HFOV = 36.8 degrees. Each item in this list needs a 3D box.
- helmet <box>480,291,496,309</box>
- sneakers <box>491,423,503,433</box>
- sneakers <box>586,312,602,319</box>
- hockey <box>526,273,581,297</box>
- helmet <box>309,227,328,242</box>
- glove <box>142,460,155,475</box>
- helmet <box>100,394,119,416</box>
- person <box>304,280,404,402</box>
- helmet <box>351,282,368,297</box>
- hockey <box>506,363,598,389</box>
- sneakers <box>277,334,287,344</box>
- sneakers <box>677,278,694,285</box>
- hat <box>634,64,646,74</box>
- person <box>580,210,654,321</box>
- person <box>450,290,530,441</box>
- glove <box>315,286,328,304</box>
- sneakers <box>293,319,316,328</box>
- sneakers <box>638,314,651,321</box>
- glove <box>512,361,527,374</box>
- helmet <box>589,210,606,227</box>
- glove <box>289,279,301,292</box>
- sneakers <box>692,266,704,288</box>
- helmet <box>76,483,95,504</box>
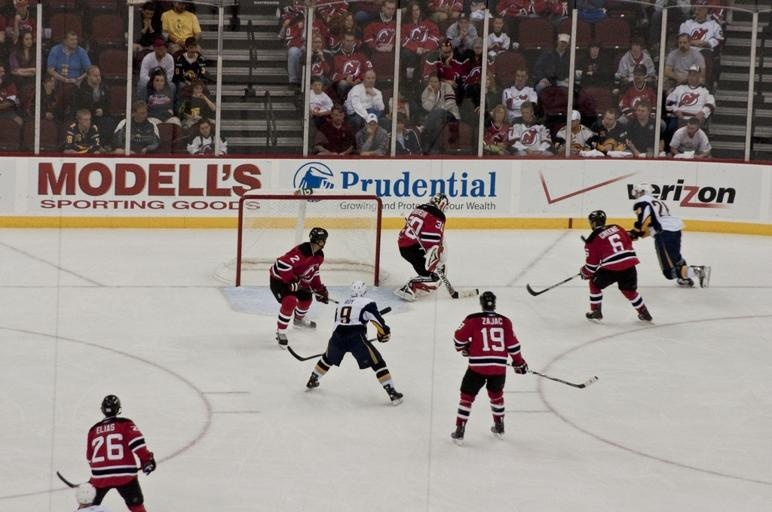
[{"bbox_3d":[0.994,0.410,11.416,0.153,0.148,0.165,2,32,0],"label":"helmet"},{"bbox_3d":[1.112,1.691,11.599,0.101,0.110,0.114,-2,10,-7],"label":"sneakers"},{"bbox_3d":[2.505,0.684,13.936,0.171,0.110,0.082,8,17,24],"label":"sneakers"},{"bbox_3d":[2.052,0.346,14.620,0.557,0.299,0.992,1,5,6],"label":"hockey"},{"bbox_3d":[-0.767,-0.250,13.247,0.203,0.171,0.159,-11,8,-8],"label":"helmet"},{"bbox_3d":[-2.131,1.861,10.356,0.088,0.138,0.056,44,17,9],"label":"glove"},{"bbox_3d":[-2.510,1.301,10.367,0.195,0.186,0.201,2,11,0],"label":"helmet"},{"bbox_3d":[-0.372,0.957,12.632,1.146,1.142,0.693,6,17,15],"label":"person"},{"bbox_3d":[-0.294,0.320,11.966,0.138,0.145,0.158,6,18,15],"label":"helmet"},{"bbox_3d":[1.772,1.276,12.460,1.231,0.130,0.169,9,24,-30],"label":"hockey"},{"bbox_3d":[-1.181,0.915,13.084,0.129,0.133,0.227,0,5,-6],"label":"sneakers"},{"bbox_3d":[3.902,0.316,15.062,0.204,0.077,0.082,-1,-10,-1],"label":"sneakers"},{"bbox_3d":[3.762,-2.747,17.132,0.137,0.092,0.128,9,-1,-7],"label":"hat"},{"bbox_3d":[2.739,0.120,13.831,0.813,1.300,0.410,1,6,8],"label":"person"},{"bbox_3d":[1.007,1.062,11.450,0.679,1.448,0.499,-4,7,-37],"label":"person"},{"bbox_3d":[-0.745,0.426,13.233,0.076,0.172,0.191,-19,-15,34],"label":"glove"},{"bbox_3d":[-0.956,0.777,13.622,0.298,0.112,0.092,-3,18,-7],"label":"sneakers"},{"bbox_3d":[3.092,0.716,13.799,0.132,0.081,0.063,-2,20,12],"label":"sneakers"},{"bbox_3d":[1.339,1.087,11.508,0.151,0.106,0.117,3,7,39],"label":"glove"},{"bbox_3d":[2.533,-0.462,13.906,0.190,0.200,0.228,5,3,-39],"label":"helmet"},{"bbox_3d":[-1.037,0.325,13.146,0.084,0.121,0.141,0,-10,43],"label":"glove"},{"bbox_3d":[3.990,0.231,14.758,0.146,0.306,0.109,1,-8,-4],"label":"sneakers"},{"bbox_3d":[-2.596,2.012,9.966,0.164,0.192,0.175,-1,5,-14],"label":"helmet"}]
